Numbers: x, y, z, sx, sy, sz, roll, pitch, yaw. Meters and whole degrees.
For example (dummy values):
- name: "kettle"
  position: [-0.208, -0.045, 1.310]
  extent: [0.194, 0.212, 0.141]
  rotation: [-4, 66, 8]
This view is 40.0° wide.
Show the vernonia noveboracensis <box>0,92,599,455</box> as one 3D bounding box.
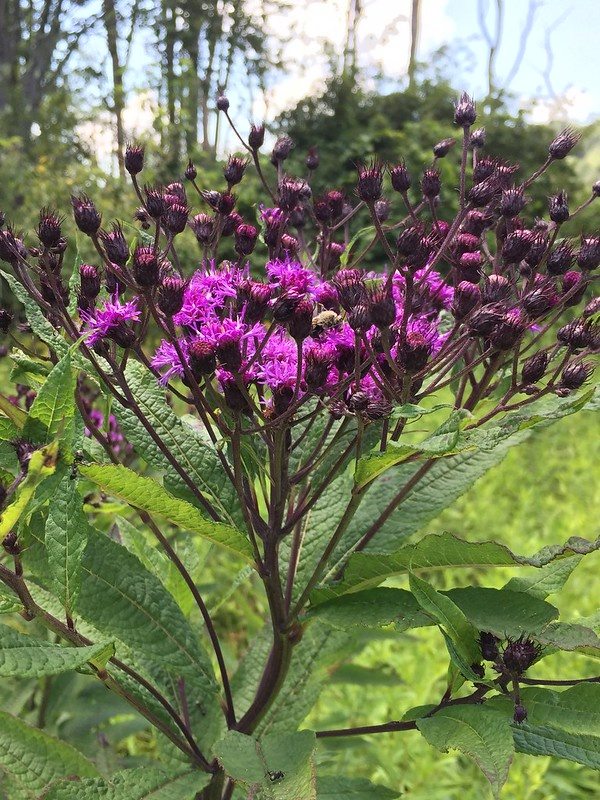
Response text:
- name: "vernonia noveboracensis"
  position: [0.046, -0.174, 1.407]
  extent: [0.814, 0.364, 0.870]
  rotation: [3, 10, 33]
